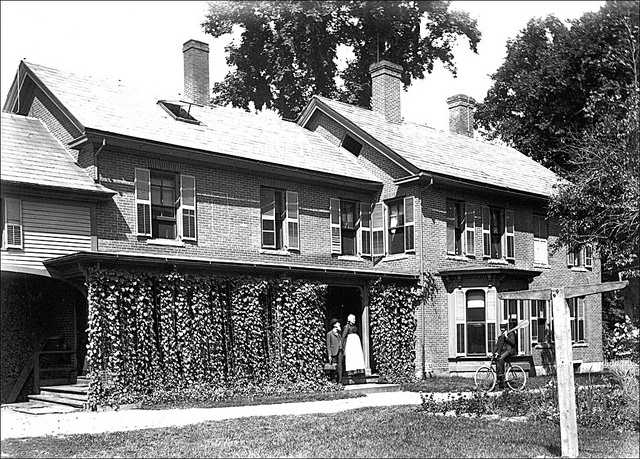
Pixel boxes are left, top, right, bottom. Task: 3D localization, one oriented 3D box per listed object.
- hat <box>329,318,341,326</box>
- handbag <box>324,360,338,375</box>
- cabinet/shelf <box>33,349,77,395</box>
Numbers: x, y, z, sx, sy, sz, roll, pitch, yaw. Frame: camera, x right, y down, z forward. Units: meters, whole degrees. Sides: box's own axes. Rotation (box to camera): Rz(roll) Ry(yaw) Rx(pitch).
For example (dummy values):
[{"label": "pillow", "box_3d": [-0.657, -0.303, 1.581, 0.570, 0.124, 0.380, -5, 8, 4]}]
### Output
[{"label": "hat", "box_3d": [0.483, 3.291, 31.023, 0.340, 0.117, 0.323, -27, -10, 27]}, {"label": "handbag", "box_3d": [0.395, 4.939, 31.131, 0.439, 0.595, 1.028, 0, 6, 0]}, {"label": "cabinet/shelf", "box_3d": [-8.882, 4.924, 29.783, 1.339, 1.318, 0.983, 2, -33, -22]}]
